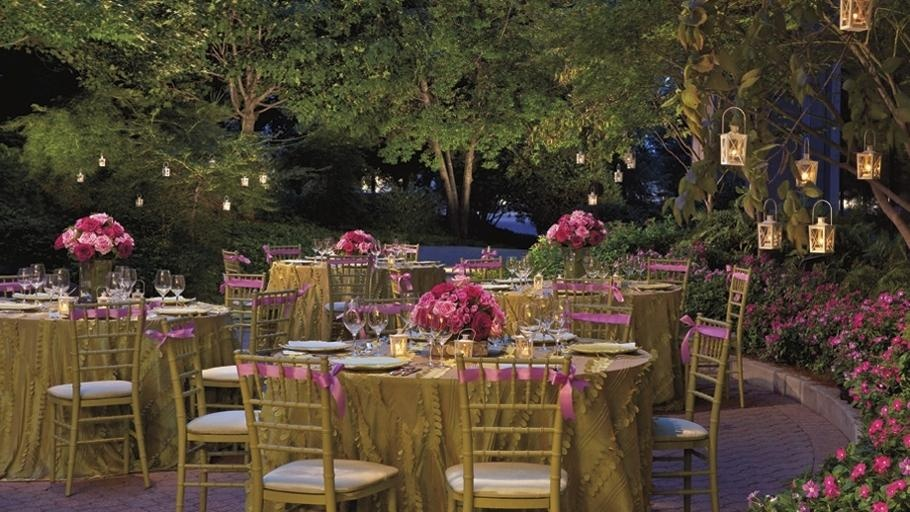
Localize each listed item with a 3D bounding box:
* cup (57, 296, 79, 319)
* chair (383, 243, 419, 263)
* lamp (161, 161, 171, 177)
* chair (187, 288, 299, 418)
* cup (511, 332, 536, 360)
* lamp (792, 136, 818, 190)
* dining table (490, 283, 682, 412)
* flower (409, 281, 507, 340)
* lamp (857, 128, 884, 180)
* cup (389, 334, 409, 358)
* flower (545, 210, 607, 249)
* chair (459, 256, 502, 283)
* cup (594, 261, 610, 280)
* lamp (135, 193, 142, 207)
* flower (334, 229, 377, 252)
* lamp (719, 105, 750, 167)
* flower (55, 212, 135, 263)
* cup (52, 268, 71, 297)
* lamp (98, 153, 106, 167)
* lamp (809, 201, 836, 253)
[{"bbox_3d":[-5.088,0.685,11.772,0.315,0.344,0.335,1,1,0],"label":"cup"},{"bbox_3d":[-1.103,-0.050,17.178,0.412,0.351,0.792,0,-3,5],"label":"chair"},{"bbox_3d":[-7.069,-2.073,21.894,0.239,0.491,0.183,-1,-1,7],"label":"lamp"},{"bbox_3d":[-2.807,1.486,12.324,1.603,1.989,1.650,-2,1,-20],"label":"chair"},{"bbox_3d":[0.801,1.080,10.456,0.249,0.299,0.262,-1,-2,0],"label":"cup"},{"bbox_3d":[4.918,-1.313,12.517,0.332,0.721,0.328,11,-11,-44],"label":"lamp"},{"bbox_3d":[2.394,1.439,13.956,2.116,1.635,2.123,1,-9,-21],"label":"dining table"},{"bbox_3d":[0.026,0.670,10.421,0.720,0.554,0.755,2,-3,36],"label":"flower"},{"bbox_3d":[5.887,-1.430,12.736,0.268,0.774,1.618,0,0,26],"label":"lamp"},{"bbox_3d":[-0.670,1.084,10.525,0.212,0.259,0.246,0,1,-5],"label":"cup"},{"bbox_3d":[1.939,-0.378,14.342,0.656,0.397,0.690,-1,4,-9],"label":"flower"},{"bbox_3d":[0.499,0.265,16.524,0.593,0.492,0.623,0,-4,-11],"label":"chair"},{"bbox_3d":[2.260,0.251,13.787,0.236,0.280,0.234,-2,6,0],"label":"cup"},{"bbox_3d":[-7.606,-1.316,21.594,0.207,0.310,0.627,-1,-1,-20],"label":"lamp"},{"bbox_3d":[-1.781,-0.224,16.286,0.469,0.264,0.506,-1,10,16],"label":"flower"},{"bbox_3d":[3.526,-1.506,11.320,0.299,0.798,0.290,4,-8,-3],"label":"lamp"},{"bbox_3d":[-5.057,-0.177,12.760,0.860,0.685,0.878,0,10,-29],"label":"flower"},{"bbox_3d":[-5.402,0.399,12.259,0.217,0.364,0.555,-1,0,-25],"label":"cup"},{"bbox_3d":[-8.520,-2.286,21.611,0.205,0.150,0.404,1,42,-8],"label":"lamp"},{"bbox_3d":[4.950,-0.393,12.091,0.304,0.723,0.323,-1,3,-16],"label":"lamp"}]
